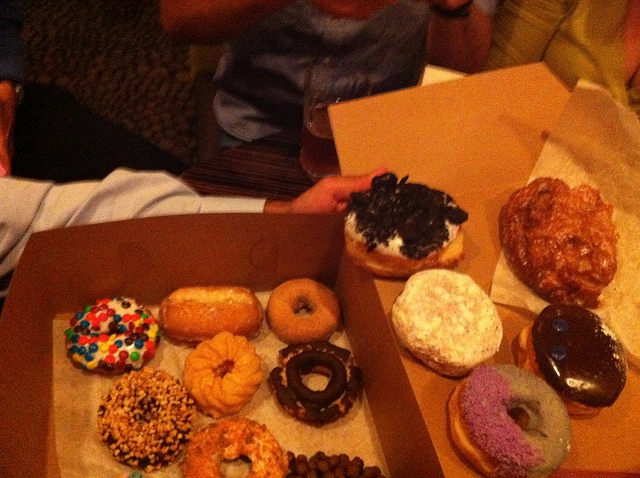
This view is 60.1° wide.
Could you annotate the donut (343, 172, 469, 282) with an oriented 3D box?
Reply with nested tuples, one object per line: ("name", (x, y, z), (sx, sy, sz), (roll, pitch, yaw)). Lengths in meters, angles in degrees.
("donut", (0.237, -0.055, 1.661), (0.340, 0.135, 0.321), (-2, 76, 1))

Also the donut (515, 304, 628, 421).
("donut", (0.717, 0.338, 1.639), (0.260, 0.147, 0.306), (-8, 60, -5))

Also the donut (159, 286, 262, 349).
("donut", (-0.395, 0.266, 1.999), (0.299, 0.154, 0.198), (2, 40, -4))

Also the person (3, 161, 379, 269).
("person", (-0.450, -0.166, 1.964), (1.271, 0.424, 0.392), (-2, 58, -1))

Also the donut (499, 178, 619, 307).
("donut", (0.751, -0.003, 1.774), (0.345, 0.174, 0.336), (21, 63, 12))

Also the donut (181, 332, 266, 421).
("donut", (-0.333, 0.481, 1.977), (0.261, 0.139, 0.314), (22, 46, 20))

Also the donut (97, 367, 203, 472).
("donut", (-0.590, 0.612, 1.904), (0.353, 0.112, 0.324), (14, 62, 8))

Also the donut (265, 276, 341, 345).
("donut", (-0.061, 0.293, 2.112), (0.271, 0.119, 0.316), (9, 43, 3))

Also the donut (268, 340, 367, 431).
("donut", (-0.013, 0.517, 1.981), (0.350, 0.103, 0.301), (-2, 61, -1))

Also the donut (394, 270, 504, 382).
("donut", (0.377, 0.281, 1.692), (0.296, 0.102, 0.287), (29, 71, 20))
